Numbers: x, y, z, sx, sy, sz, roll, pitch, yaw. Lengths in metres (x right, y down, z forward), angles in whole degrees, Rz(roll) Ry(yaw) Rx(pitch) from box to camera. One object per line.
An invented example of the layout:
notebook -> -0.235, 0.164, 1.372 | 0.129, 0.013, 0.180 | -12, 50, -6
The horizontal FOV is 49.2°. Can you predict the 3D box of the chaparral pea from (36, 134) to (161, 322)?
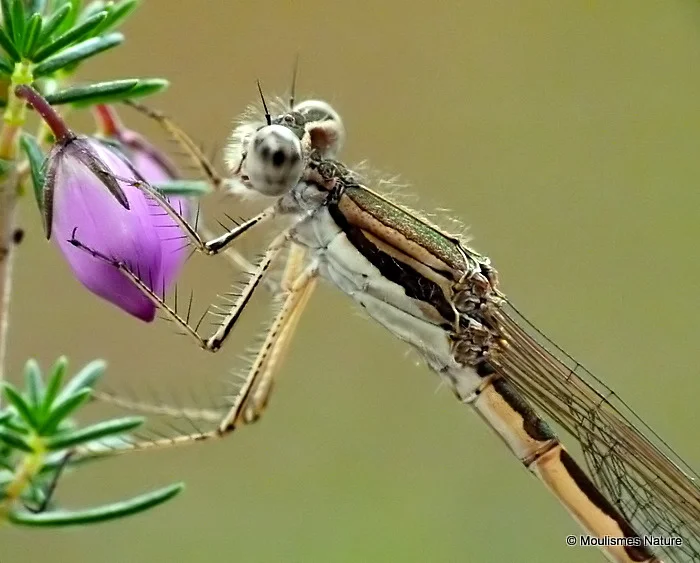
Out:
chaparral pea -> -0.477, -0.078, 1.556 | 0.126, 0.398, 0.250 | -32, -27, -9
